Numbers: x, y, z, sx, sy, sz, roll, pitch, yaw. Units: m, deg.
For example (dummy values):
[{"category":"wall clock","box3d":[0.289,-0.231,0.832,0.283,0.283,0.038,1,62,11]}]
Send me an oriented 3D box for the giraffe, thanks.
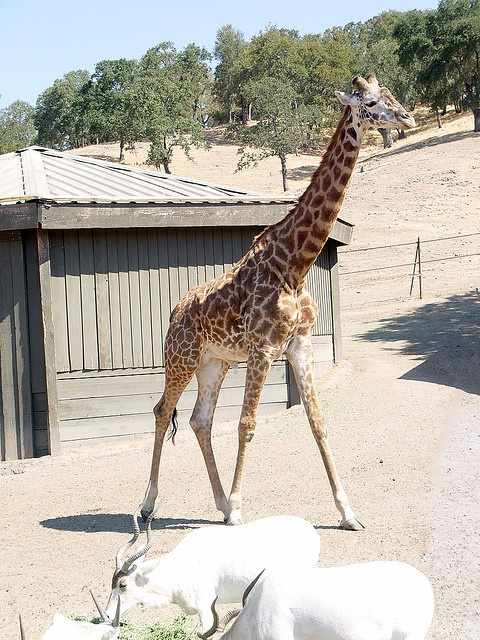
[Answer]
[{"category":"giraffe","box3d":[0.183,-0.128,7.758,2.267,3.395,1.066,-1,7,19]}]
